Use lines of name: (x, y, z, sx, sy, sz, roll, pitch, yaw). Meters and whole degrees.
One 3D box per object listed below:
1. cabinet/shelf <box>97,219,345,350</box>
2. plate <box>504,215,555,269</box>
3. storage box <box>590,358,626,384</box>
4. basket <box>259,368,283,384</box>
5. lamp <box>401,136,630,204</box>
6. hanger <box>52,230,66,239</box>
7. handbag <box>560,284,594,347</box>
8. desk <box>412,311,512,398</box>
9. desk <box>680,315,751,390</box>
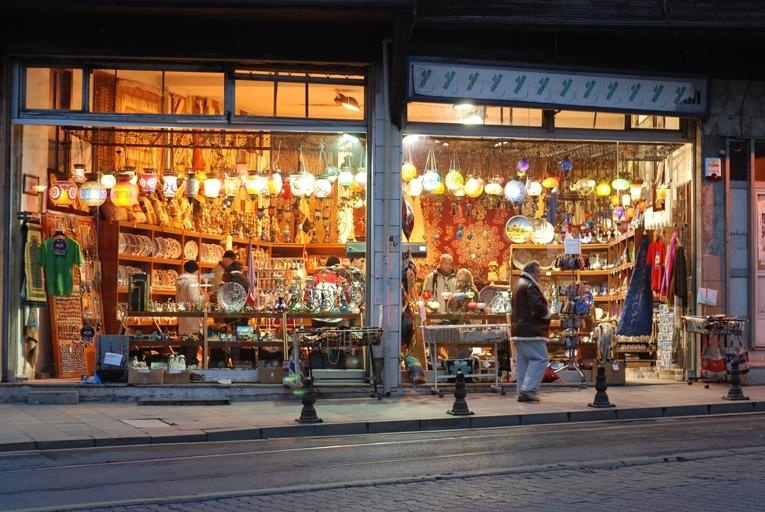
cabinet/shelf: (-4.482, 0.638, 24.456, 8.331, 3.321, 3.184, 0, -5, -6)
plate: (3.639, -0.336, 27.002, 1.336, 1.366, 0.178, 0, 2, -6)
storage box: (4.765, 2.426, 23.325, 0.731, 0.524, 0.592, -1, -3, 0)
basket: (-2.157, 2.329, 21.833, 0.334, 0.210, 0.339, 0, 0, 10)
lamp: (3.047, -2.048, 26.105, 4.042, 0.871, 1.604, 1, -7, -4)
hanger: (-6.591, -0.424, 22.923, 0.279, 0.228, 0.444, -1, -3, -17)
handbag: (4.182, 1.158, 23.604, 0.766, 1.660, 0.711, -1, 2, 2)
desk: (1.647, 2.013, 22.921, 1.738, 1.324, 1.395, -1, -6, -5)
desk: (6.910, 1.932, 23.080, 1.180, 1.746, 0.938, 1, -4, -7)
